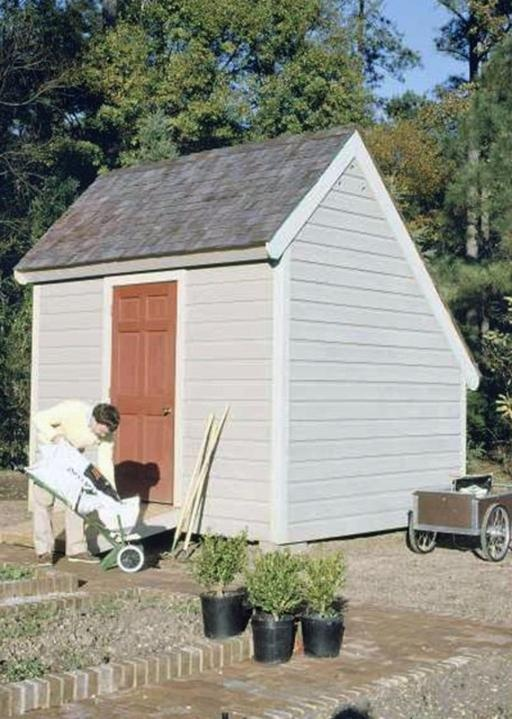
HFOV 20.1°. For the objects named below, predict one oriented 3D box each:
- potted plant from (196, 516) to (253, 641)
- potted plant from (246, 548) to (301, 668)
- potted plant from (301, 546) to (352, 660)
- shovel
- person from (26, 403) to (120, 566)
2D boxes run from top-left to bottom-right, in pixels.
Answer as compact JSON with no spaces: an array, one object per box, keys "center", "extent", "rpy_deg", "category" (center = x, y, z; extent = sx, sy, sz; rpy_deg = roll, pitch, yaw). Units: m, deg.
[{"center":[-0.299,1.918,12.365],"extent":[0.371,0.830,0.572],"rpy_deg":[-3,-7,23],"category":"potted plant"},{"center":[0.142,2.038,12.162],"extent":[0.510,0.911,0.624],"rpy_deg":[2,0,-6],"category":"potted plant"},{"center":[0.581,2.065,12.195],"extent":[0.473,0.781,0.480],"rpy_deg":[2,0,-29],"category":"potted plant"},{"center":[-0.651,1.284,15.762],"extent":[0.510,1.755,0.245],"rpy_deg":[11,2,25],"category":"shovel"},{"center":[-1.776,1.249,14.926],"extent":[1.037,1.622,0.989],"rpy_deg":[1,6,-42],"category":"person"}]
